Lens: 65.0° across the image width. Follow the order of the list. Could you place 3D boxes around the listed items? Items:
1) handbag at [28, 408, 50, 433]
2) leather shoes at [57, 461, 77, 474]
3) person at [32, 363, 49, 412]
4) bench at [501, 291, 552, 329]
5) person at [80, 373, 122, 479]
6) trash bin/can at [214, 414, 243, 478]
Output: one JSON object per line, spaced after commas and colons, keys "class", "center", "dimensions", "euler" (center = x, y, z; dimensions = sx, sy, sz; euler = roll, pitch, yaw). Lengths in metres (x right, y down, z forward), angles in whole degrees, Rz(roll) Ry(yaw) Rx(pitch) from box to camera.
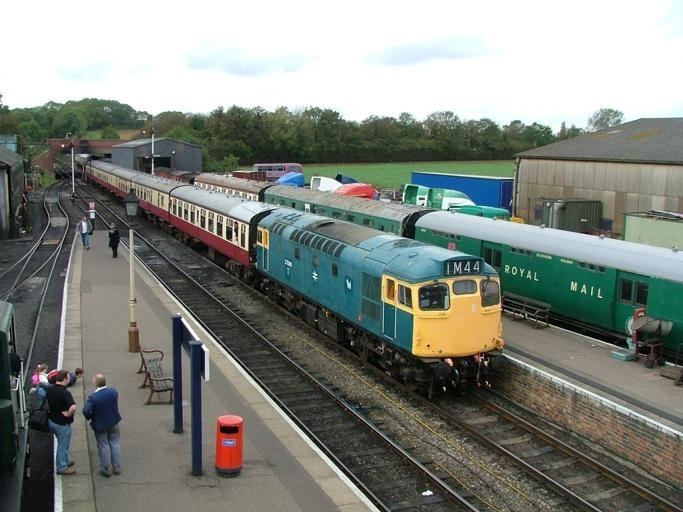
{"class": "handbag", "center": [-5.903, 3.220, 10.494], "dimensions": [0.411, 0.494, 0.522], "euler": [8, -11, -20]}
{"class": "leather shoes", "center": [-5.395, 4.209, 10.586], "dimensions": [0.392, 0.155, 0.126], "euler": [-6, 20, -27]}
{"class": "person", "center": [-6.770, 2.964, 12.059], "dimensions": [0.480, 1.049, 0.375], "euler": [19, 20, 27]}
{"class": "bench", "center": [6.529, 2.098, 20.867], "dimensions": [2.559, 0.747, 0.559], "euler": [7, -13, 38]}
{"class": "person", "center": [-4.620, 3.325, 10.388], "dimensions": [0.598, 2.005, 0.408], "euler": [-6, 10, -26]}
{"class": "trash bin/can", "center": [-2.267, 3.825, 10.746], "dimensions": [0.586, 1.169, 0.322], "euler": [-3, 9, -8]}
